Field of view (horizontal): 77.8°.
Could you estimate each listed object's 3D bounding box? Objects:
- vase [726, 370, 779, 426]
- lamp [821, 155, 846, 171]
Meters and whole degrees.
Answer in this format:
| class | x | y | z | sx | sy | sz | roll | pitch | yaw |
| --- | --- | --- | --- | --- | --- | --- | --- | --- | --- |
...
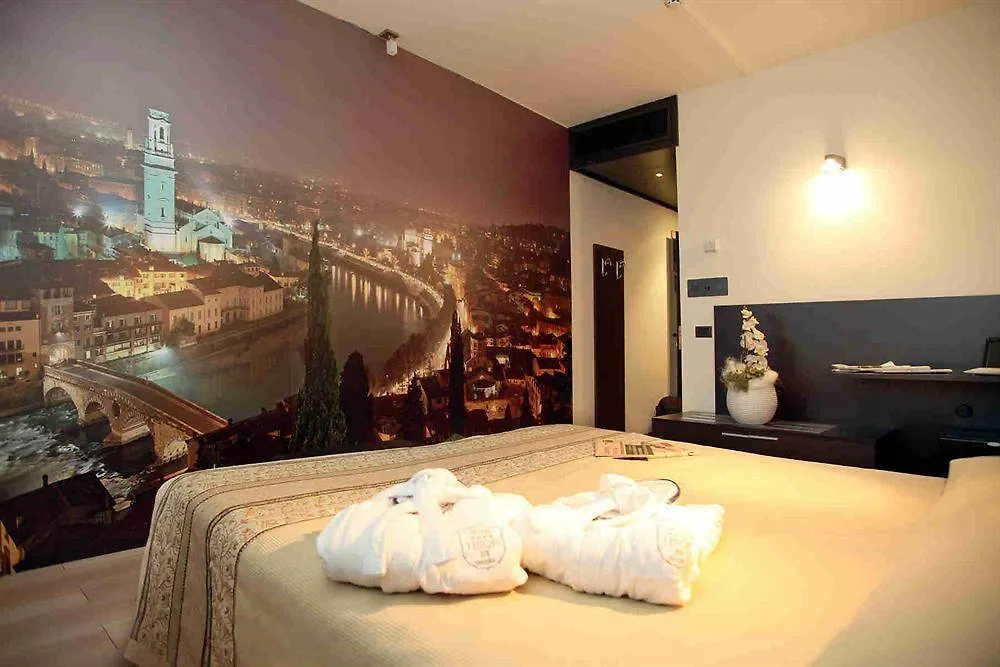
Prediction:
| class | x | y | z | sx | sy | sz | roll | pitch | yaw |
| --- | --- | --- | --- | --- | --- | --- | --- | --- | --- |
| vase | 1.721 | 0.429 | 4.209 | 0.352 | 0.378 | 0.343 | 3 | -4 | -17 |
| lamp | 2.271 | -1.150 | 4.216 | 0.142 | 0.088 | 0.112 | -3 | -1 | -27 |
